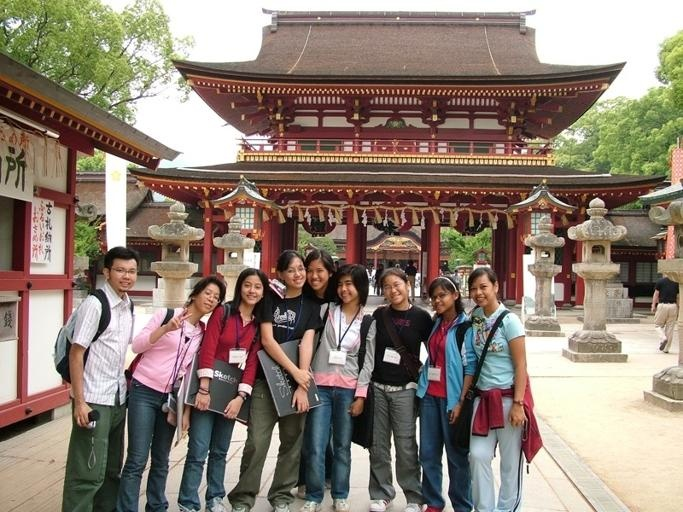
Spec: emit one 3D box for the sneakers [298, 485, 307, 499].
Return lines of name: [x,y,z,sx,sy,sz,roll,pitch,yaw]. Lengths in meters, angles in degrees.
sneakers: [-0.395,2.377,6.617,0.066,0.125,0.186,1,-15,-2]

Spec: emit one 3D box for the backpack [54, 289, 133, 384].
backpack: [-2.383,0.712,6.022,0.359,0.848,0.313,19,7,35]
